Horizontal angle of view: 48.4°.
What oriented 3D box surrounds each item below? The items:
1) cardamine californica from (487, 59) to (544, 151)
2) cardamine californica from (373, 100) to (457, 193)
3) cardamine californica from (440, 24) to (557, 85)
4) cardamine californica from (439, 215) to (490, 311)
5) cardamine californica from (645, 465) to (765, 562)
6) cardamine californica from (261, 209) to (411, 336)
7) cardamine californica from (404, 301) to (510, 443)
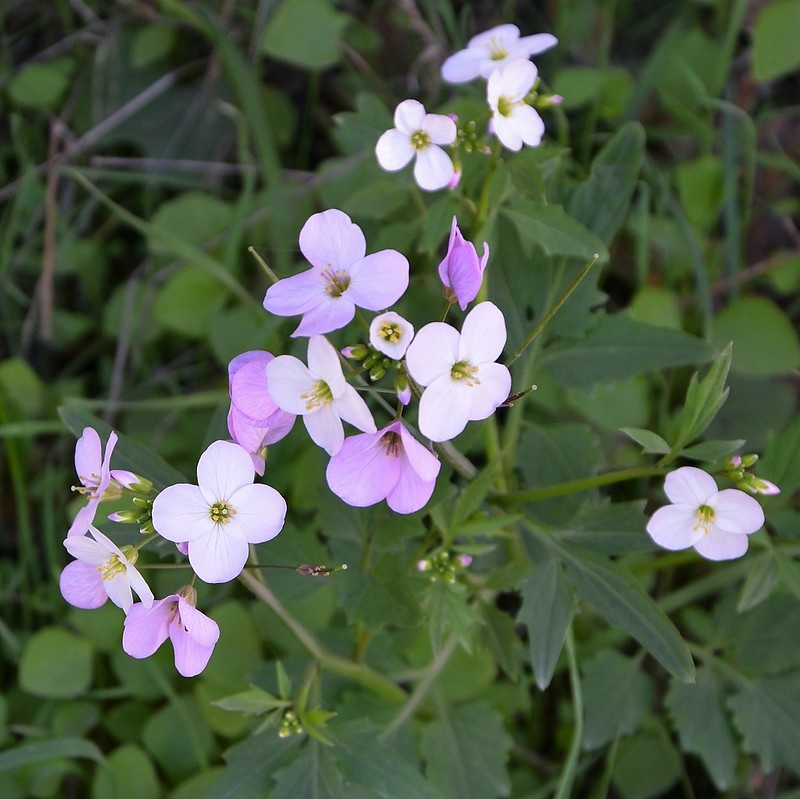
[{"bbox_3d":[0.227,-0.561,1.767,0.105,0.194,0.209,-4,-18,7],"label":"cardamine californica"},{"bbox_3d":[0.033,-0.486,1.691,0.142,0.135,0.087,16,-13,13],"label":"cardamine californica"},{"bbox_3d":[0.211,-0.696,1.914,0.199,0.114,0.210,-31,23,-1],"label":"cardamine californica"},{"bbox_3d":[0.105,-0.235,1.584,0.062,0.143,0.114,-9,38,-42],"label":"cardamine californica"},{"bbox_3d":[0.540,0.196,1.603,0.158,0.190,0.072,-19,17,0],"label":"cardamine californica"},{"bbox_3d":[-0.110,-0.195,1.544,0.233,0.234,0.082,34,-7,16],"label":"cardamine californica"},{"bbox_3d":[0.101,-0.051,1.527,0.195,0.220,0.069,-29,20,-17],"label":"cardamine californica"}]
